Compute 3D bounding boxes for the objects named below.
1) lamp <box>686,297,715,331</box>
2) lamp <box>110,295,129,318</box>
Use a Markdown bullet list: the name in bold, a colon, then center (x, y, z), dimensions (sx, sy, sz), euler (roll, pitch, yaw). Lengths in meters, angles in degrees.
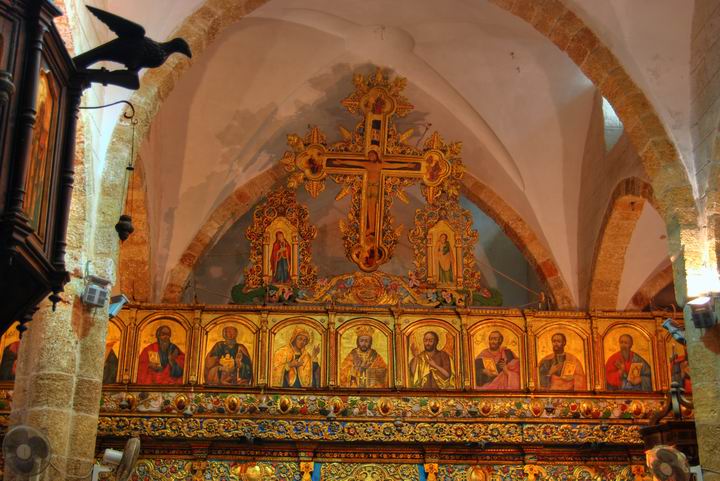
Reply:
- **lamp**: center (4.158, 0.878, 12.576), dimensions (0.298, 0.410, 0.349), euler (-11, -4, 13)
- **lamp**: center (-3.029, 0.818, 12.946), dimensions (0.288, 0.298, 0.082), euler (7, -18, 39)
